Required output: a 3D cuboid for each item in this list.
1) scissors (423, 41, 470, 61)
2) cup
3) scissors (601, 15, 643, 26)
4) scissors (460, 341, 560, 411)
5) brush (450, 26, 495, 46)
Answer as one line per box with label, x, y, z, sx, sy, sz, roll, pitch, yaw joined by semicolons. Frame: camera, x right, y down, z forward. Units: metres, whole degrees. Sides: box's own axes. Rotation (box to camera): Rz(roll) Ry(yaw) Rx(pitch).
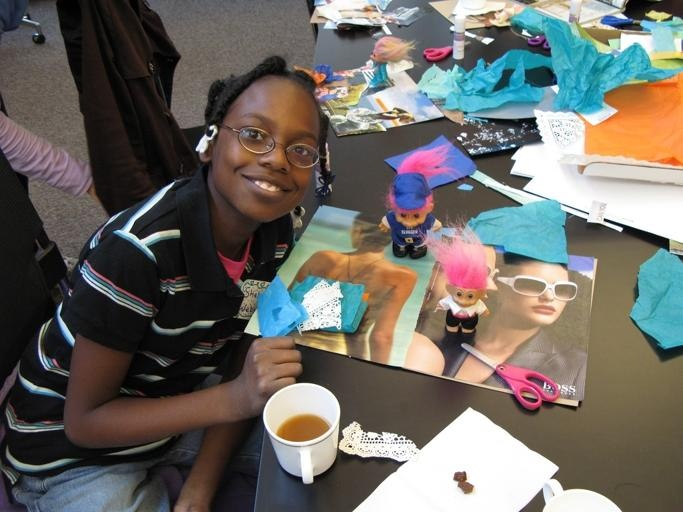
scissors;0.327;-0.698;1.691;0.115;0.016;0.048;-27;51;-23
cup;-0.054;0.262;0.769;0.118;0.101;0.148;1;47;1
scissors;0.985;-0.849;1.774;0.093;0.023;0.063;12;49;5
scissors;0.301;0.199;0.855;0.055;0.015;0.132;-32;41;-12
brush;0.456;-0.799;1.774;0.150;0.009;0.049;28;54;28
